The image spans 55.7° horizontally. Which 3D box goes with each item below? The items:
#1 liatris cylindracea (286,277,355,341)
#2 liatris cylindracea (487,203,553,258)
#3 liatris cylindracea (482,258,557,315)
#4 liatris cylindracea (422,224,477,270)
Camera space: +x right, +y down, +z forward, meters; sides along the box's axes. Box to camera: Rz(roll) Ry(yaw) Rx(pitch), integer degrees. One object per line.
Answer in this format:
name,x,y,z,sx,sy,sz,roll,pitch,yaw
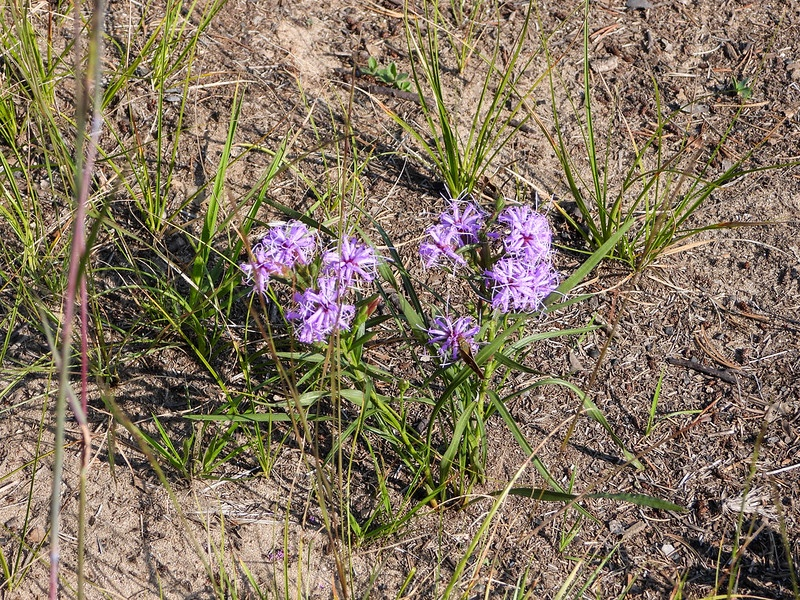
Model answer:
liatris cylindracea,-0.296,0.040,2.688,0.191,0.093,0.257,10,98,-6
liatris cylindracea,0.429,-0.236,2.671,0.164,0.072,0.221,-1,71,-10
liatris cylindracea,0.423,-0.043,2.682,0.191,0.084,0.223,30,75,2
liatris cylindracea,0.165,-0.183,2.811,0.156,0.077,0.213,-10,73,2
